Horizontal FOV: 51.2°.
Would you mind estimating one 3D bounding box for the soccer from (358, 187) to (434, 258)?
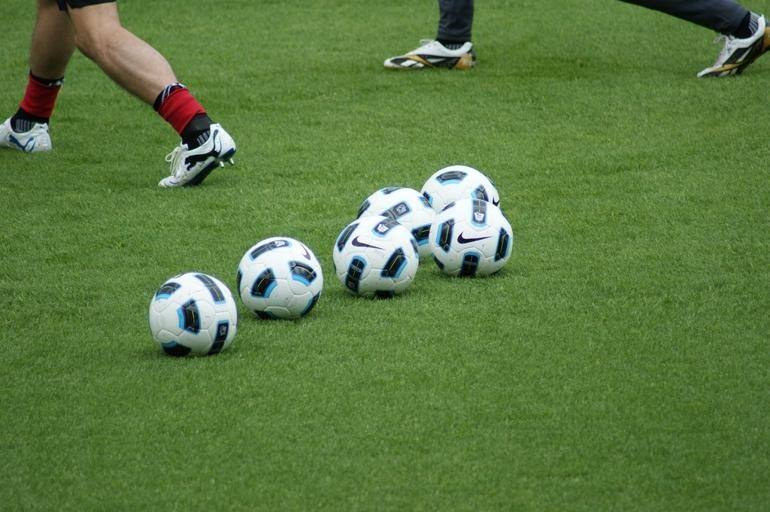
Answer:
[{"bbox_3d":[0.074,-0.286,4.972,0.463,0.444,0.434,11,34,7],"label":"soccer"}]

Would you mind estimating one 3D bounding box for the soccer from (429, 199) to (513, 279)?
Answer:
[{"bbox_3d":[0.514,-0.113,4.787,0.435,0.448,0.499,2,69,4],"label":"soccer"}]

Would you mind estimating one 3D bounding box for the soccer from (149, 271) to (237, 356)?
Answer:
[{"bbox_3d":[-1.008,0.283,4.365,0.396,0.421,0.421,24,22,-7],"label":"soccer"}]

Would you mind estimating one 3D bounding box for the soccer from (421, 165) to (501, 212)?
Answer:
[{"bbox_3d":[0.478,-0.454,5.252,0.377,0.371,0.353,6,3,34],"label":"soccer"}]
